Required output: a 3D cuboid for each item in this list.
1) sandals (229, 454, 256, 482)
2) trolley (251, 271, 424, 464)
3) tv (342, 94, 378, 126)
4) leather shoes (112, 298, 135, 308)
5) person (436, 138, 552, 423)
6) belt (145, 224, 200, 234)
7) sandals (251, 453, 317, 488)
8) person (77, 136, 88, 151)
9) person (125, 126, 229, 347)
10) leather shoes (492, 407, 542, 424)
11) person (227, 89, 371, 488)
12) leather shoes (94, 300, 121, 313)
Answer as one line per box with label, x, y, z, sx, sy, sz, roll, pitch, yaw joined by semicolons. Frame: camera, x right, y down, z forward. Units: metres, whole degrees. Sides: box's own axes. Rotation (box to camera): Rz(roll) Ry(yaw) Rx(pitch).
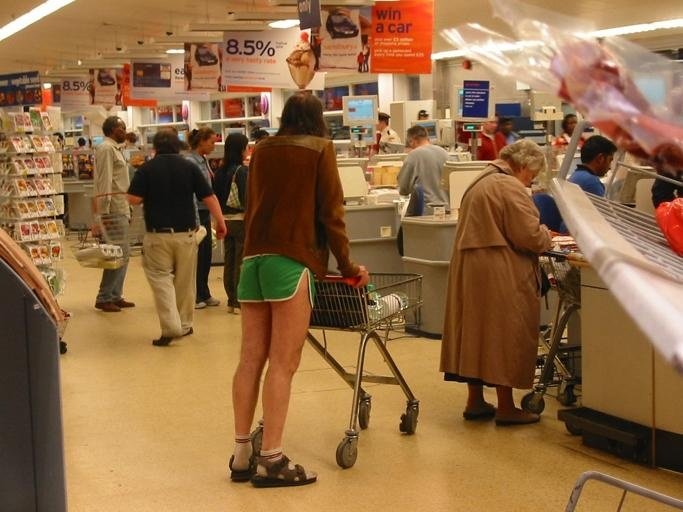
sandals;-0.540;1.156;3.120;0.083;0.089;0.204;2;8;2
trolley;0.059;0.602;3.438;0.625;1.101;1.143;0;-2;37
tv;0.329;-2.608;10.413;0.824;0.734;0.458;-1;8;-7
leather shoes;-2.801;0.601;7.246;0.264;0.114;0.090;3;12;-31
person;1.009;0.069;3.699;0.680;1.636;0.463;0;8;4
belt;-1.642;-0.262;5.448;0.459;0.075;0.152;-4;9;-21
sandals;-0.311;1.134;3.056;0.358;0.175;0.144;-1;4;-11
person;-7.854;-3.398;17.050;0.229;0.538;3.021;-5;9;-24
person;-1.623;-0.173;5.515;0.811;2.114;0.477;-3;8;-17
leather shoes;1.195;1.049;3.824;0.301;0.127;0.113;-4;6;-13
person;-0.301;0.171;3.046;0.660;2.091;0.426;-6;9;-34
leather shoes;-2.922;0.629;7.101;0.335;0.145;0.130;3;4;14
